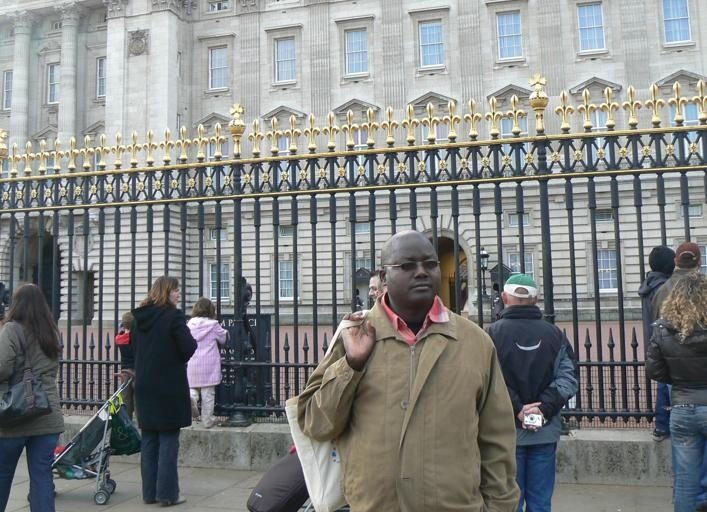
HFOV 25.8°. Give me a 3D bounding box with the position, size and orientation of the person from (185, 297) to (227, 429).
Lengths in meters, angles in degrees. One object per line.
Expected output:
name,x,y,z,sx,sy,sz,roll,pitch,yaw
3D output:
person,-4.376,3.140,45.335,1.122,3.760,1.101,1,0,-2

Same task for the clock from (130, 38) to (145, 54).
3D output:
clock,-9.969,-9.633,70.653,0.723,0.752,0.063,1,-8,14
